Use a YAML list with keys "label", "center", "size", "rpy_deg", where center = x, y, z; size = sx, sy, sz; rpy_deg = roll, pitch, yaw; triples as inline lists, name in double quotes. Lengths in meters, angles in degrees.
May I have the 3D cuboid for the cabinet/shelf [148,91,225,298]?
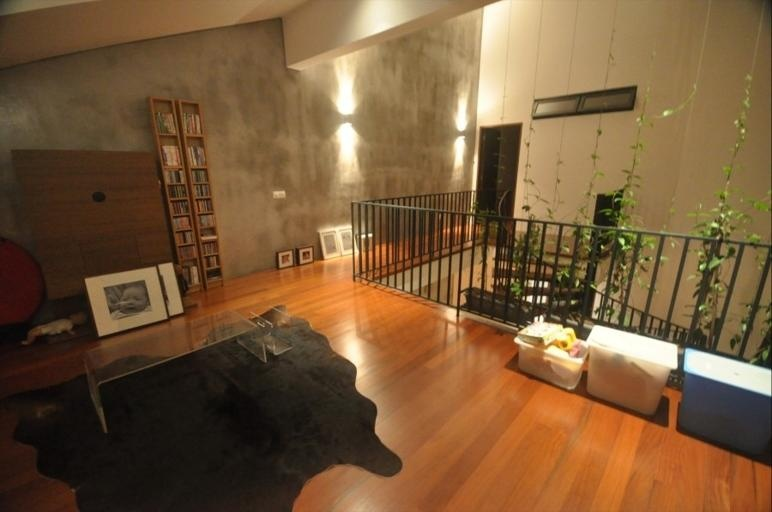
- label: "cabinet/shelf"
  center: [-2.745, -0.800, 6.338]
  size: [0.666, 2.660, 0.318]
  rpy_deg: [-9, 15, -31]
